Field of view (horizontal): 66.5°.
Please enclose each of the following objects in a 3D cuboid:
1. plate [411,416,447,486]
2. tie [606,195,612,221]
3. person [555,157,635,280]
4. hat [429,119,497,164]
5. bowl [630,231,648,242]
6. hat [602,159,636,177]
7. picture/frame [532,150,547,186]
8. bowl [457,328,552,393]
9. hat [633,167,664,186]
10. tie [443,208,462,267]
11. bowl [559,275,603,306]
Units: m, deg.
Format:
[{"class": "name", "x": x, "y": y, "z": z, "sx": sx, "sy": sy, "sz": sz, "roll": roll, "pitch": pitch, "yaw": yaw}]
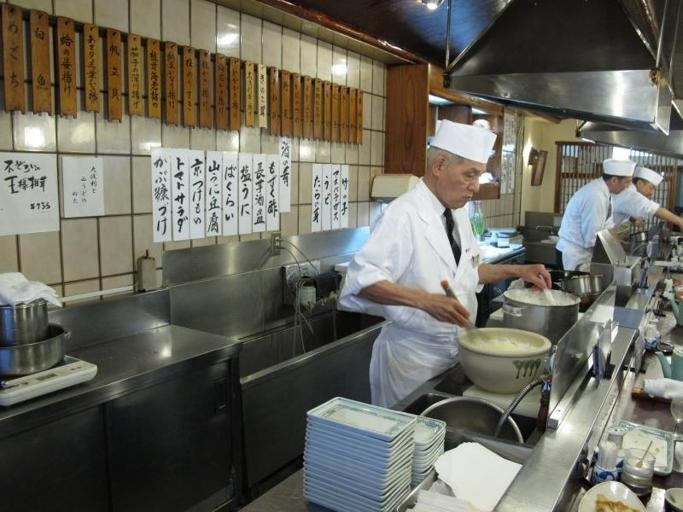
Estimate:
[{"class": "plate", "x": 0.266, "y": 0.586, "z": 1.572, "sx": 0.115, "sy": 0.075, "sz": 0.164, "roll": 2, "pitch": 5, "yaw": 24}, {"class": "tie", "x": 2.612, "y": -0.452, "z": 5.106, "sx": 0.019, "sy": 0.211, "sz": 0.174, "roll": 4, "pitch": 10, "yaw": 39}, {"class": "person", "x": 2.503, "y": -0.389, "z": 5.167, "sx": 0.676, "sy": 1.109, "sz": 0.683, "roll": 1, "pitch": 9, "yaw": 24}, {"class": "hat", "x": 0.548, "y": -0.511, "z": 2.366, "sx": 0.245, "sy": 0.142, "sz": 0.198, "roll": 25, "pitch": 20, "yaw": 16}, {"class": "bowl", "x": 3.043, "y": -0.202, "z": 5.325, "sx": 0.191, "sy": 0.077, "sz": 0.153, "roll": 0, "pitch": -1, "yaw": 0}, {"class": "hat", "x": 2.718, "y": -0.880, "z": 5.129, "sx": 0.235, "sy": 0.138, "sz": 0.200, "roll": 13, "pitch": 23, "yaw": 32}, {"class": "picture/frame", "x": 3.153, "y": -1.441, "z": 8.355, "sx": 0.060, "sy": 0.475, "sz": 0.407, "roll": 11, "pitch": 42, "yaw": 25}, {"class": "bowl", "x": 0.642, "y": 0.425, "z": 2.107, "sx": 0.351, "sy": 0.201, "sz": 0.325, "roll": -3, "pitch": 8, "yaw": 0}, {"class": "hat", "x": 3.615, "y": -0.894, "z": 6.185, "sx": 0.293, "sy": 0.129, "sz": 0.270, "roll": 26, "pitch": 17, "yaw": 17}, {"class": "tie", "x": 0.535, "y": -0.103, "z": 2.574, "sx": 0.061, "sy": 0.341, "sz": 0.081, "roll": -4, "pitch": -8, "yaw": 8}, {"class": "bowl", "x": 1.347, "y": 0.174, "z": 2.850, "sx": 0.149, "sy": 0.134, "sz": 0.162, "roll": 6, "pitch": -8, "yaw": 1}]
